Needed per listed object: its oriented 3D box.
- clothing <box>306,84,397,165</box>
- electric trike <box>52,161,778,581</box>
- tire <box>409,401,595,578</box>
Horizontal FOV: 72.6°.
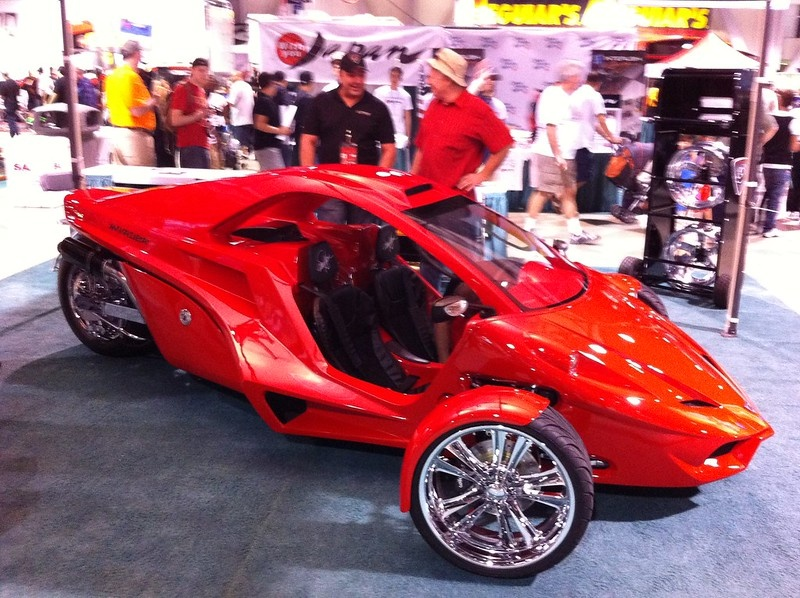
[{"bbox_3d":[-0.418,-1.461,4.637,0.853,0.592,0.314,8,41,6],"label":"clothing"},{"bbox_3d":[-0.415,0.224,2.946,3.860,1.055,1.929,11,25,20],"label":"electric trike"},{"bbox_3d":[0.419,0.778,2.215,0.947,0.693,0.296,-4,9,20],"label":"tire"}]
